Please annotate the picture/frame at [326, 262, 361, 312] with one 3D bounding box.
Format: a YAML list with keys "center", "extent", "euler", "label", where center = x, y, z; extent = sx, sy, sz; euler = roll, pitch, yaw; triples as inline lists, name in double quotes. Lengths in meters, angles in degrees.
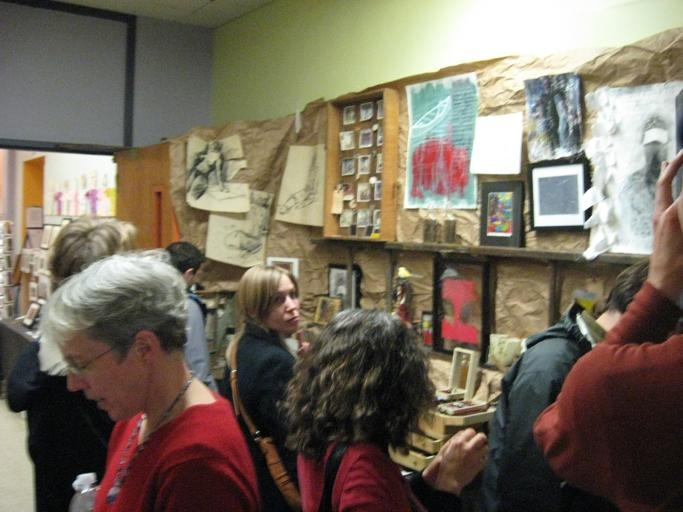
- center: [0.018, 0.232, 4.133]
  extent: [0.053, 0.391, 0.342]
  euler: [-4, 6, -35]
  label: "picture/frame"

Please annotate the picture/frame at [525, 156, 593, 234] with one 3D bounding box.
- center: [1.173, -0.331, 2.965]
  extent: [0.037, 0.382, 0.436]
  euler: [-2, 1, -38]
  label: "picture/frame"

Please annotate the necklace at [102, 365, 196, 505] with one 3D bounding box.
- center: [-0.555, 0.504, 1.604]
  extent: [0.085, 0.371, 0.210]
  euler: [18, -12, 35]
  label: "necklace"

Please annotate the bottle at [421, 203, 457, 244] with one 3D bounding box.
- center: [0.607, -0.195, 3.543]
  extent: [0.098, 0.220, 0.257]
  euler: [-2, 3, -33]
  label: "bottle"

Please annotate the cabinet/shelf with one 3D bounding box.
- center: [0.474, 0.937, 2.924]
  extent: [0.646, 0.312, 0.643]
  euler: [3, -4, -30]
  label: "cabinet/shelf"

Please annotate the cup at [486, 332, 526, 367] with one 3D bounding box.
- center: [0.904, 0.514, 3.048]
  extent: [0.172, 0.196, 0.210]
  euler: [24, -14, -10]
  label: "cup"

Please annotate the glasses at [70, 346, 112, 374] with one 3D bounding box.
- center: [-0.676, 0.284, 1.500]
  extent: [0.084, 0.025, 0.080]
  euler: [-41, 13, -23]
  label: "glasses"
